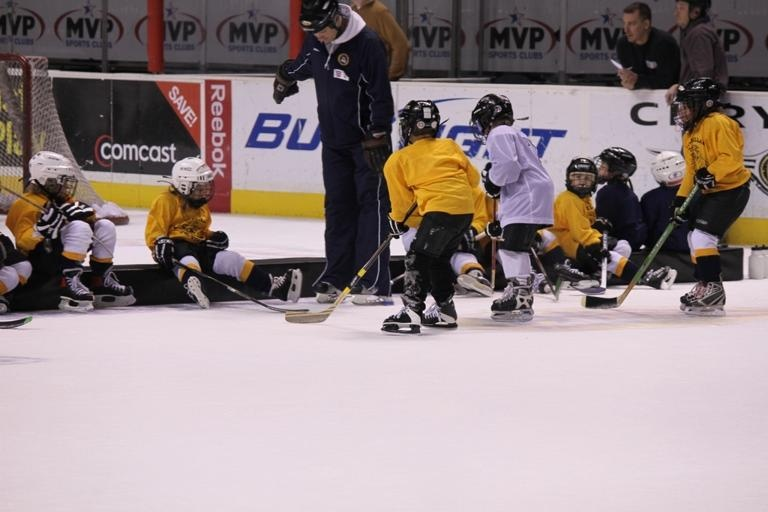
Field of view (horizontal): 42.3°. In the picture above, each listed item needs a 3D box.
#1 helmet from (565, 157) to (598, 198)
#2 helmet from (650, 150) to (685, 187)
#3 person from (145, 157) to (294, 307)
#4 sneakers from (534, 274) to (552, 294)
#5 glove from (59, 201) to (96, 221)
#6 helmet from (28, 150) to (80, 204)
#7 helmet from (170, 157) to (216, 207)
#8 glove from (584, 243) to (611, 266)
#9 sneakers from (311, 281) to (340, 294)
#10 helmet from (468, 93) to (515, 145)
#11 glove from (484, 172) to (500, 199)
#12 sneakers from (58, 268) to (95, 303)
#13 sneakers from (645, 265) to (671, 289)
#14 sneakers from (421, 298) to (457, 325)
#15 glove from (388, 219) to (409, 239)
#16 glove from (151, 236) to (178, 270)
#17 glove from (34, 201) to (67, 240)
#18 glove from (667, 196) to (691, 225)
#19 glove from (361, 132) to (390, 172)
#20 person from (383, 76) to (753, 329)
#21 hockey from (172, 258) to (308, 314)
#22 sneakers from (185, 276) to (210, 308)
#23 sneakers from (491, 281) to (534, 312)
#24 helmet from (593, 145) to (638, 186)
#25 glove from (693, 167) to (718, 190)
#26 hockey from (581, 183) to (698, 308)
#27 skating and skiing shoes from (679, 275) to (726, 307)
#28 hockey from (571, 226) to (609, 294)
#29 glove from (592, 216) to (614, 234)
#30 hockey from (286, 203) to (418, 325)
[{"bbox_3d":[1.438,-0.571,7.199,0.227,0.273,0.286,-2,0,-1],"label":"helmet"},{"bbox_3d":[2.247,-0.683,7.859,0.249,0.228,0.266,-6,33,14],"label":"helmet"},{"bbox_3d":[-1.194,-0.120,6.536,1.135,0.821,0.816,17,19,24],"label":"person"},{"bbox_3d":[1.161,0.208,7.280,0.149,0.138,0.053,4,29,25],"label":"sneakers"},{"bbox_3d":[-1.953,-0.280,6.314,0.121,0.068,0.174,18,-3,43],"label":"glove"},{"bbox_3d":[-2.141,-0.546,6.439,0.361,0.318,0.253,15,27,-26],"label":"helmet"},{"bbox_3d":[-1.294,-0.506,6.639,0.352,0.308,0.270,3,18,1],"label":"helmet"},{"bbox_3d":[1.553,-0.021,7.217,0.176,0.059,0.128,23,-3,20],"label":"glove"},{"bbox_3d":[-0.397,0.213,6.725,0.137,0.051,0.076,6,12,-5],"label":"sneakers"},{"bbox_3d":[0.672,-0.905,6.452,0.318,0.307,0.274,-9,-12,17],"label":"helmet"},{"bbox_3d":[0.697,-0.450,6.376,0.106,0.186,0.213,3,14,7],"label":"glove"},{"bbox_3d":[-1.940,0.185,6.239,0.185,0.195,0.138,-3,15,-17],"label":"sneakers"},{"bbox_3d":[2.050,0.163,7.413,0.127,0.093,0.264,12,-10,-18],"label":"sneakers"},{"bbox_3d":[0.343,0.348,6.045,0.218,0.175,0.152,2,14,4],"label":"sneakers"},{"bbox_3d":[0.086,-0.166,6.177,0.125,0.111,0.093,-3,11,-6],"label":"glove"},{"bbox_3d":[-1.427,-0.018,6.390,0.075,0.188,0.147,-12,9,-39],"label":"glove"},{"bbox_3d":[-2.080,-0.204,6.177,0.200,0.197,0.084,41,-4,-11],"label":"glove"},{"bbox_3d":[1.996,-0.305,6.704,0.141,0.174,0.063,5,5,-6],"label":"glove"},{"bbox_3d":[-0.052,-0.677,6.560,0.192,0.230,0.094,5,10,9],"label":"glove"},{"bbox_3d":[1.502,-0.397,6.440,1.891,1.471,0.627,0,15,-8],"label":"person"},{"bbox_3d":[-0.938,0.239,6.454,0.973,0.307,0.073,15,55,22],"label":"hockey"},{"bbox_3d":[-1.193,0.225,6.370,0.113,0.247,0.108,-28,6,-23],"label":"sneakers"},{"bbox_3d":[0.815,0.249,6.274,0.254,0.216,0.171,3,14,4],"label":"sneakers"},{"bbox_3d":[1.789,-0.703,7.683,0.327,0.253,0.229,28,10,16],"label":"helmet"},{"bbox_3d":[2.100,-0.499,6.537,0.118,0.128,0.146,17,-12,-4],"label":"glove"},{"bbox_3d":[1.767,0.080,6.934,0.145,0.892,0.132,30,45,5],"label":"hockey"},{"bbox_3d":[2.089,0.247,6.493,0.261,0.145,0.167,2,-2,8],"label":"skating and skiing shoes"},{"bbox_3d":[1.511,0.025,7.259,0.300,0.116,0.548,1,35,6],"label":"hockey"},{"bbox_3d":[1.642,-0.222,7.406,0.124,0.132,0.111,0,11,-20],"label":"glove"},{"bbox_3d":[-0.191,0.076,6.682,0.161,0.226,1.076,-3,44,50],"label":"hockey"}]
